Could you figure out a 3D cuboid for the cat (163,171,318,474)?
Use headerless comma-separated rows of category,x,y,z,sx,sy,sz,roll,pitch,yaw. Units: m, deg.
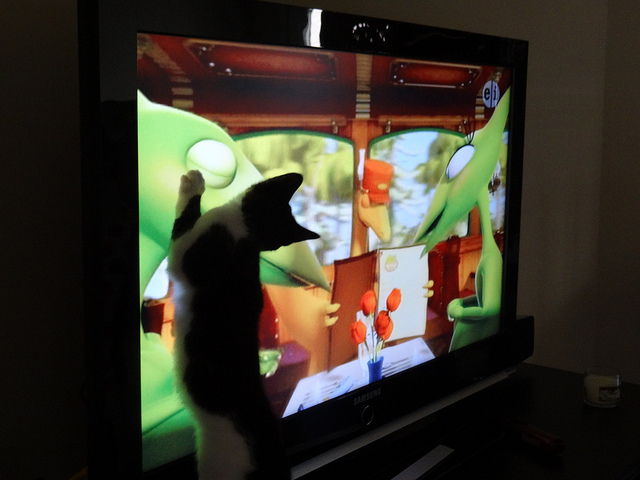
cat,-0.134,0.131,1.349,0.375,0.712,0.172,-6,-4,23

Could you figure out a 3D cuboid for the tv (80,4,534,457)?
tv,-0.037,-0.011,1.351,1.170,0.880,0.124,-3,4,-43

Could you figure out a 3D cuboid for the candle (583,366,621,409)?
candle,0.823,0.433,1.798,0.100,0.112,0.115,0,6,12
